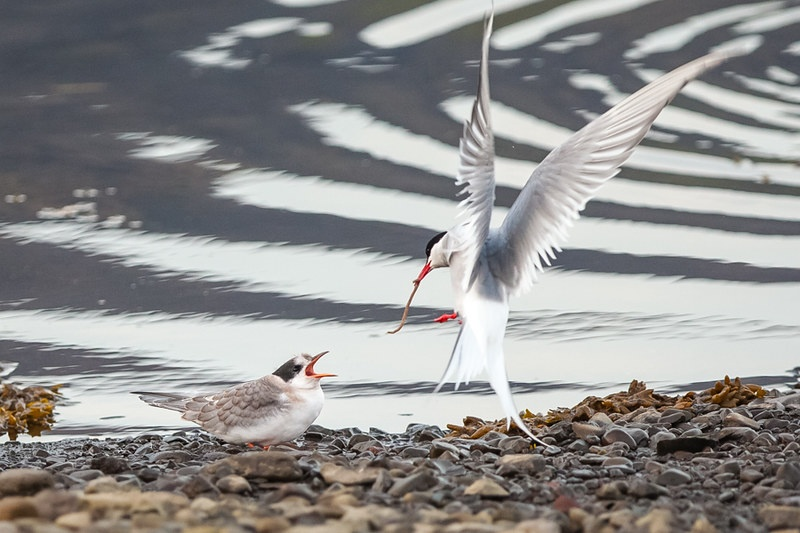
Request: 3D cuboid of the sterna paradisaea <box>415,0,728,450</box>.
[{"bbox_3d":[1.580,-0.211,13.269,2.373,4.520,1.271,8,-2,-5],"label":"sterna paradisaea"}]
